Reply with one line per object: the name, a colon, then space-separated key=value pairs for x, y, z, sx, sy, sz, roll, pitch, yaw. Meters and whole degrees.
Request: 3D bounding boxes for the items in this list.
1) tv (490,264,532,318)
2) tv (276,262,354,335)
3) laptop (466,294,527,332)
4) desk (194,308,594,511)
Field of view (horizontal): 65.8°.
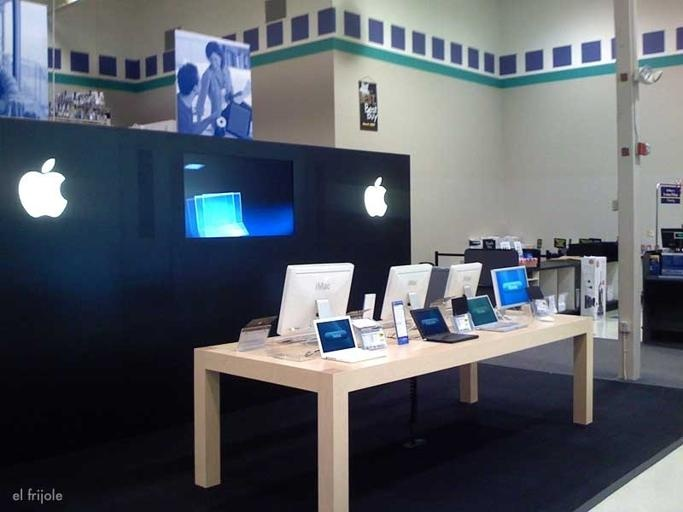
tv: x=1.549 y=0.337 z=4.823 sx=0.092 sy=0.365 sz=0.503 roll=-22 pitch=-11 yaw=31
tv: x=-0.180 y=0.306 z=3.649 sx=0.604 sy=0.578 sz=0.219 roll=-6 pitch=17 yaw=-42
laptop: x=1.185 y=0.482 z=4.210 sx=0.299 sy=0.211 sz=0.336 roll=0 pitch=1 yaw=41
desk: x=0.663 y=1.036 z=3.922 sx=3.290 sy=0.953 sz=1.195 roll=-3 pitch=5 yaw=-30
